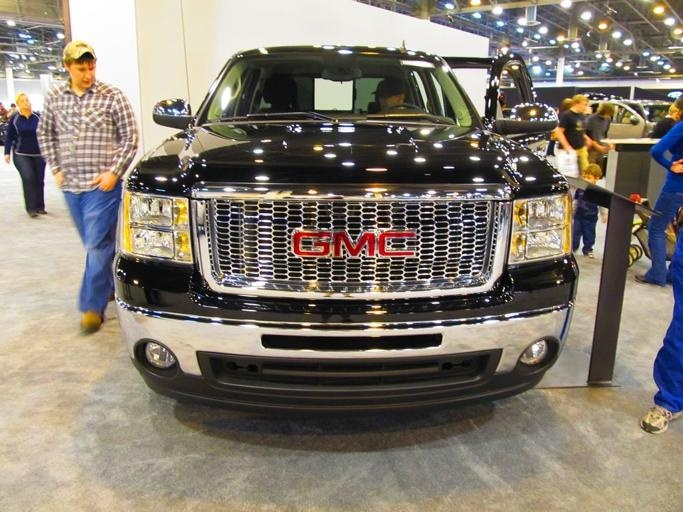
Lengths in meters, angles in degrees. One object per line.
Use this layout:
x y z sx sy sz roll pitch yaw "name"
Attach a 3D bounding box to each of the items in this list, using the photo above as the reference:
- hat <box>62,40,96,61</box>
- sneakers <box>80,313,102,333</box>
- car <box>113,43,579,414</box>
-2.020 -1.547 3.689 0.210 0.166 0.249 -10 23 -29 "hat"
-1.975 0.545 3.864 0.203 0.128 0.170 6 -3 -31 "sneakers"
-0.003 -0.268 3.284 2.077 1.227 2.942 0 5 -2 "car"
